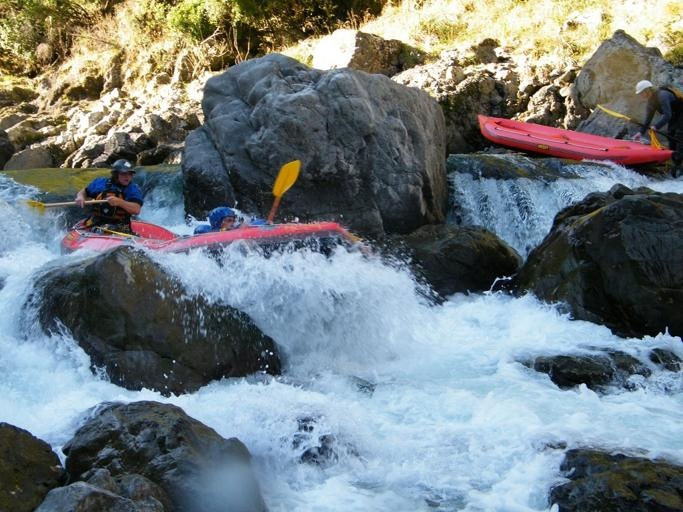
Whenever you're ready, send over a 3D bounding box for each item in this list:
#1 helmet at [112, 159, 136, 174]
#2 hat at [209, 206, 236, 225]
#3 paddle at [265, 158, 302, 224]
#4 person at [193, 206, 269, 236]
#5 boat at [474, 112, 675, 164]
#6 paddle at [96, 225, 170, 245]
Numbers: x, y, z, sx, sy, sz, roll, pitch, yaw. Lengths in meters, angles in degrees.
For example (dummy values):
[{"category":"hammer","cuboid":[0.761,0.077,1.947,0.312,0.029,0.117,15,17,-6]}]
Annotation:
[{"category":"helmet","cuboid":[-3.400,-1.345,12.661,0.319,0.294,0.246,-10,24,-18]},{"category":"hat","cuboid":[-1.796,-0.589,12.225,0.323,0.277,0.248,-18,10,8]},{"category":"paddle","cuboid":[-1.001,-0.873,12.653,0.361,1.756,0.125,-6,63,-24]},{"category":"person","cuboid":[-1.712,-0.523,12.203,0.802,0.294,0.604,-11,5,28]},{"category":"boat","cuboid":[4.806,-2.338,16.628,2.416,0.443,0.781,18,20,17]},{"category":"paddle","cuboid":[-3.174,-0.329,12.253,1.086,0.155,0.319,17,10,18]}]
